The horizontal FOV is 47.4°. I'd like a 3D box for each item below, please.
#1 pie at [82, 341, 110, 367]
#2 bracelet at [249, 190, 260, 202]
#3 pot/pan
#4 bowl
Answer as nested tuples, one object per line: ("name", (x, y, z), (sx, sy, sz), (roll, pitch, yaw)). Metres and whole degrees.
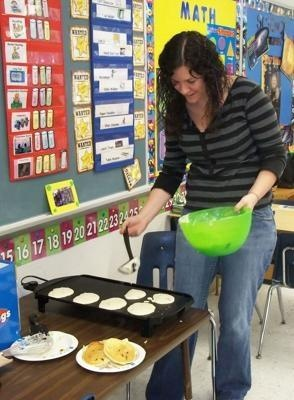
("pie", (-0.110, 0.322, 0.704), (0.051, 0.023, 0.090), (-1, 0, -13))
("bracelet", (0.346, -0.009, 1.109), (0.031, 0.021, 0.044), (0, 33, 29))
("pot/pan", (-0.129, 0.301, 1.006), (0.423, 0.060, 0.179), (8, 16, 35))
("bowl", (0.192, 0.098, 1.062), (0.211, 0.136, 0.206), (-16, -2, -1))
